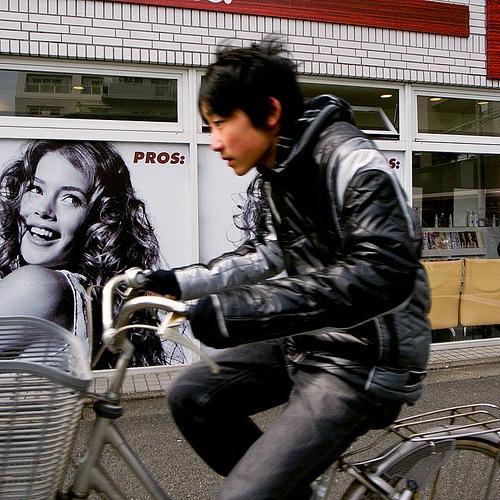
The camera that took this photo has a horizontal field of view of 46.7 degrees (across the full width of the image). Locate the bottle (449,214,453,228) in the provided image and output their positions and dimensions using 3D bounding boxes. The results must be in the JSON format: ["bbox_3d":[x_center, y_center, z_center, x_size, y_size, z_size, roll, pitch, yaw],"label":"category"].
[{"bbox_3d":[2.408,-0.356,6.920,0.053,0.140,0.016,-1,4,-39],"label":"bottle"}]

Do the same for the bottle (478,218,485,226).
[{"bbox_3d":[2.869,-0.349,7.156,0.091,0.123,0.081,3,-7,7],"label":"bottle"}]

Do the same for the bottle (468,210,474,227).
[{"bbox_3d":[2.712,-0.388,7.082,0.098,0.191,0.018,0,4,-32],"label":"bottle"}]

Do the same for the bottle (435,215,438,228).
[{"bbox_3d":[2.196,-0.336,6.801,0.053,0.132,0.012,0,4,-34],"label":"bottle"}]

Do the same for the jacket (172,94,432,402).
[{"bbox_3d":[0.119,0.028,1.902,1.009,0.879,0.863,-3,5,-6],"label":"jacket"}]

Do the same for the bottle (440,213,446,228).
[{"bbox_3d":[2.294,-0.356,6.852,0.099,0.156,0.021,-1,5,-41],"label":"bottle"}]

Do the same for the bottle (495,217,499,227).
[{"bbox_3d":[3.080,-0.353,7.203,0.045,0.109,0.018,2,3,0],"label":"bottle"}]

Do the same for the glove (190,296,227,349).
[{"bbox_3d":[-0.111,0.192,1.537,0.115,0.113,0.055,-6,-6,1],"label":"glove"}]

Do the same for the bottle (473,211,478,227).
[{"bbox_3d":[2.776,-0.387,7.111,0.086,0.186,0.010,1,4,-24],"label":"bottle"}]
